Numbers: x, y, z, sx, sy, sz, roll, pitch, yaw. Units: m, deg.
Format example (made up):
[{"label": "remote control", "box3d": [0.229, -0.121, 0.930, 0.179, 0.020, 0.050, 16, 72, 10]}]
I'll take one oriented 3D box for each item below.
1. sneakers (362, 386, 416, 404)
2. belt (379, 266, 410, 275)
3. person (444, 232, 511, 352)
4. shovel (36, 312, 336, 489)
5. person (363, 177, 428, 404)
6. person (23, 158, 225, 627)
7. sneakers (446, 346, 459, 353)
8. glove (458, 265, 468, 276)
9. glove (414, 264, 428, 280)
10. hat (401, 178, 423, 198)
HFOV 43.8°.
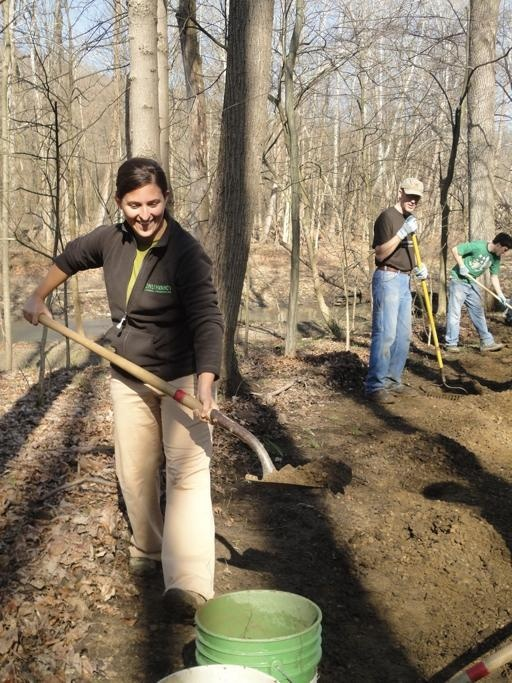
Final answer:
[{"label": "sneakers", "box3d": [1.232, 0.528, 6.087, 0.283, 0.083, 0.233, -3, -8, -42]}, {"label": "belt", "box3d": [1.262, -0.651, 5.818, 0.251, 0.061, 0.085, 1, 9, -10]}, {"label": "person", "box3d": [2.906, -0.619, 8.339, 0.757, 1.587, 0.709, 5, 10, 13]}, {"label": "shovel", "box3d": [-0.452, 0.433, 4.344, 2.510, 0.257, 0.508, 26, -11, 34]}, {"label": "person", "box3d": [1.265, -0.455, 5.935, 0.416, 2.020, 0.558, 5, 10, 11]}, {"label": "person", "box3d": [-0.477, 0.220, 2.930, 0.467, 2.015, 1.021, -5, 13, -39]}, {"label": "sneakers", "box3d": [2.624, 0.106, 8.490, 0.079, 0.086, 0.205, -1, -1, -11]}, {"label": "glove", "box3d": [2.684, -0.901, 8.199, 0.124, 0.145, 0.147, 6, 10, 15]}, {"label": "glove", "box3d": [1.611, -0.672, 6.188, 0.061, 0.138, 0.112, -7, -18, 20]}, {"label": "hat", "box3d": [1.376, -1.349, 5.612, 0.156, 0.109, 0.197, 6, 16, -11]}]
